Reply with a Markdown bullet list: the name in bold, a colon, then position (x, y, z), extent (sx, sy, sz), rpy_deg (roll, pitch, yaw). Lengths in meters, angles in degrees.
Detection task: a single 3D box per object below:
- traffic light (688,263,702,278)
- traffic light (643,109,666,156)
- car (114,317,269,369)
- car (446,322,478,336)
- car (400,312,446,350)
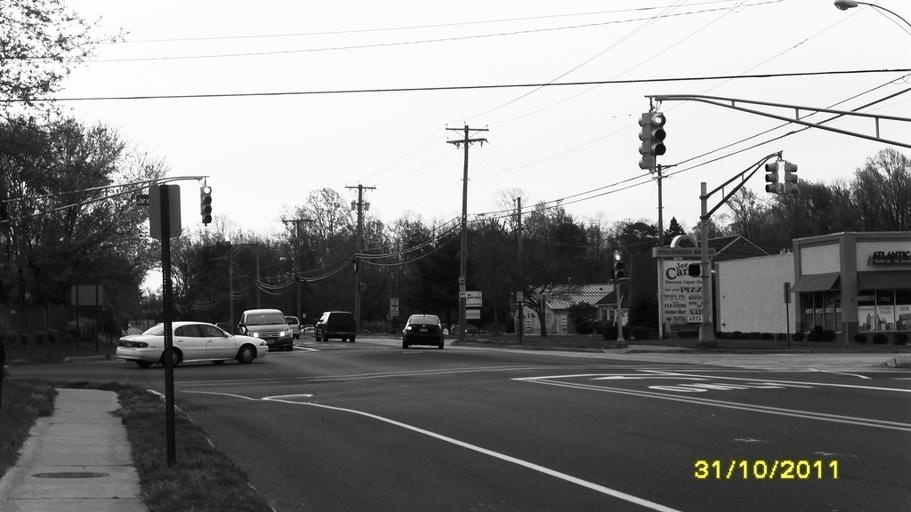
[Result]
- **traffic light**: position (14.888, 0.879, 62.236), extent (0.523, 0.676, 0.927), rpy_deg (16, 1, 2)
- **traffic light**: position (7.964, -5.015, 40.416), extent (0.912, 1.911, 0.863), rpy_deg (0, -6, 7)
- **car**: position (-12.289, 4.073, 45.913), extent (3.844, 2.193, 4.957), rpy_deg (-4, -9, 31)
- **car**: position (0.527, 7.331, 99.441), extent (2.739, 0.979, 1.270), rpy_deg (-2, -3, -2)
- **car**: position (-2.139, 4.950, 65.517), extent (2.276, 2.087, 5.144), rpy_deg (0, 0, -2)
